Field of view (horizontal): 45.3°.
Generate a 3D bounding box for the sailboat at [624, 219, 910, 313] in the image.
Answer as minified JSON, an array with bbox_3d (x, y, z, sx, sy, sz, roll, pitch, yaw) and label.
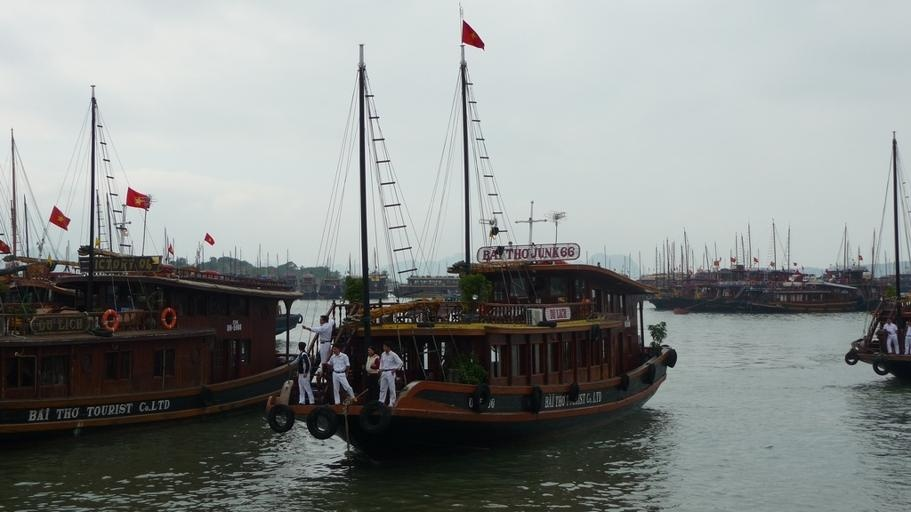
[{"bbox_3d":[37.903,3.829,131.015,42.330,13.587,12.085,2,0,8],"label":"sailboat"}]
